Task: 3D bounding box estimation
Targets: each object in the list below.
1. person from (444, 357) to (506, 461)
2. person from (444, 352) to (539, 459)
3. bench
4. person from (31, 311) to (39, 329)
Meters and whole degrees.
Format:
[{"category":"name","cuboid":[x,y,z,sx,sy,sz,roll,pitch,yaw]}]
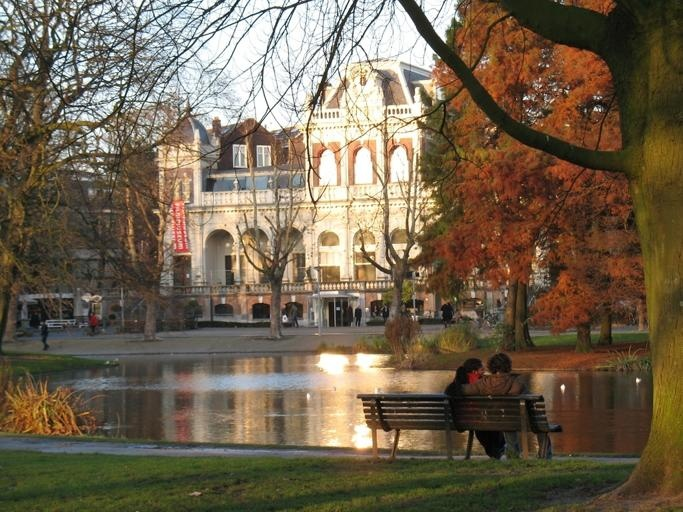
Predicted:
[{"category":"person","cuboid":[2.429,2.861,26.038,0.761,1.295,1.809,-2,2,-27]},{"category":"person","cuboid":[2.809,2.906,26.998,1.830,1.338,0.851,0,4,41]},{"category":"bench","cuboid":[2.096,3.064,25.746,3.297,1.305,1.016,-5,-9,13]},{"category":"person","cuboid":[-21.401,4.386,100.537,0.667,1.200,1.415,0,-9,-15]}]
